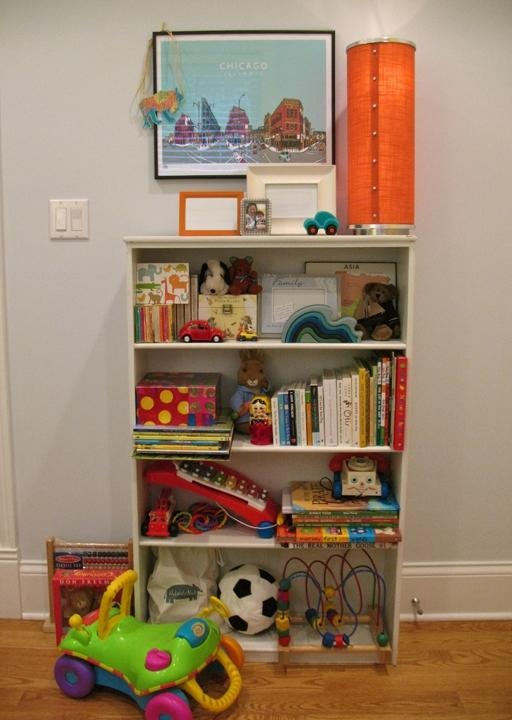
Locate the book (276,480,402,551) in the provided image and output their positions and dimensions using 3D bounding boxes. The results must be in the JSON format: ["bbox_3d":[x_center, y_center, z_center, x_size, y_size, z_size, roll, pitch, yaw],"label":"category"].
[{"bbox_3d":[0.250,0.478,2.093,0.366,0.134,0.295,0,13,2],"label":"book"}]

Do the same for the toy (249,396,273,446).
[{"bbox_3d":[0.016,0.182,1.993,0.068,0.136,0.071,-1,13,-2],"label":"toy"}]

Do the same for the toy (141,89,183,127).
[{"bbox_3d":[-0.289,-0.776,2.058,0.120,0.091,0.048,-8,11,10],"label":"toy"}]

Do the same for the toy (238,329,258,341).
[{"bbox_3d":[-0.024,-0.070,1.961,0.055,0.026,0.062,2,14,9],"label":"toy"}]

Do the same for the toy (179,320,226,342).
[{"bbox_3d":[-0.163,-0.087,1.923,0.103,0.051,0.062,-1,8,-2],"label":"toy"}]

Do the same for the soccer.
[{"bbox_3d":[-0.019,0.770,2.172,0.194,0.225,0.194,22,-24,-37],"label":"soccer"}]

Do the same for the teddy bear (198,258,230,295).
[{"bbox_3d":[-0.117,-0.252,1.989,0.082,0.102,0.112,0,0,-1],"label":"teddy bear"}]

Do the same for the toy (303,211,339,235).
[{"bbox_3d":[0.182,-0.384,1.869,0.095,0.063,0.058,3,12,1],"label":"toy"}]

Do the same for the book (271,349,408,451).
[{"bbox_3d":[0.241,0.118,1.949,0.389,0.274,0.068,1,13,7],"label":"book"}]

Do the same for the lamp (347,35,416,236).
[{"bbox_3d":[0.347,-0.610,1.850,0.187,0.506,0.111,1,13,7],"label":"lamp"}]

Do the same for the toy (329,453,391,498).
[{"bbox_3d":[0.326,0.352,2.098,0.140,0.069,0.140,0,-3,3],"label":"toy"}]

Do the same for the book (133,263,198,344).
[{"bbox_3d":[-0.245,-0.167,2.064,0.211,0.303,0.225,0,2,-1],"label":"book"}]

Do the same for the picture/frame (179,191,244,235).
[{"bbox_3d":[-0.128,-0.431,1.979,0.144,0.102,0.015,0,4,5],"label":"picture/frame"}]

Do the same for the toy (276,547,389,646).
[{"bbox_3d":[0.237,0.764,2.202,0.366,0.350,0.273,0,-26,0],"label":"toy"}]
